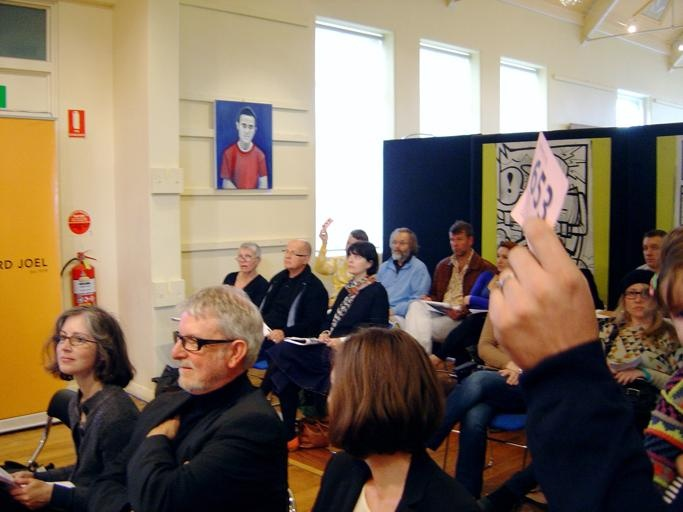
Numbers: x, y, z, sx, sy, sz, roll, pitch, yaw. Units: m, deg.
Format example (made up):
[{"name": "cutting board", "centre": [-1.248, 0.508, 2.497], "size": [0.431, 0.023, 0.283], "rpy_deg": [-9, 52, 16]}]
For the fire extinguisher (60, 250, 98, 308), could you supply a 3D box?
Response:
[{"name": "fire extinguisher", "centre": [-2.395, 0.206, 4.806], "size": [0.195, 0.495, 0.258], "rpy_deg": [13, 11, 38]}]
